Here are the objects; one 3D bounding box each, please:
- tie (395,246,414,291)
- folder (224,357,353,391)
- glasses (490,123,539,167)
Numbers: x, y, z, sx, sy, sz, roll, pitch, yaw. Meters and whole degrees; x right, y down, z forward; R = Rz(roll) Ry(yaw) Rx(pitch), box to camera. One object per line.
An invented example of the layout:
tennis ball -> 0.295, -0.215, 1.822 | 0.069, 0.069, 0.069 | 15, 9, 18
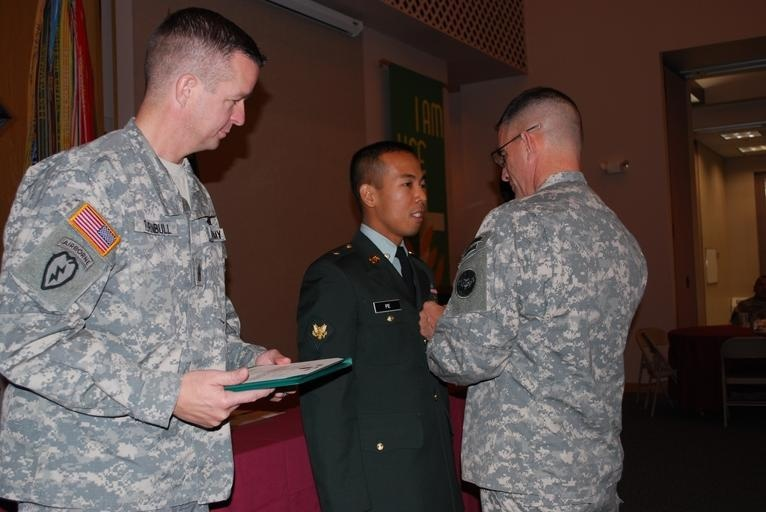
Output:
tie -> 0.090, 0.047, 3.101 | 0.050, 0.222, 0.057 | -3, -36, -6
folder -> -0.320, 0.359, 2.341 | 0.406, 0.094, 0.426 | 3, 2, -17
glasses -> 0.540, -0.462, 2.862 | 0.150, 0.040, 0.144 | -34, -1, 5
